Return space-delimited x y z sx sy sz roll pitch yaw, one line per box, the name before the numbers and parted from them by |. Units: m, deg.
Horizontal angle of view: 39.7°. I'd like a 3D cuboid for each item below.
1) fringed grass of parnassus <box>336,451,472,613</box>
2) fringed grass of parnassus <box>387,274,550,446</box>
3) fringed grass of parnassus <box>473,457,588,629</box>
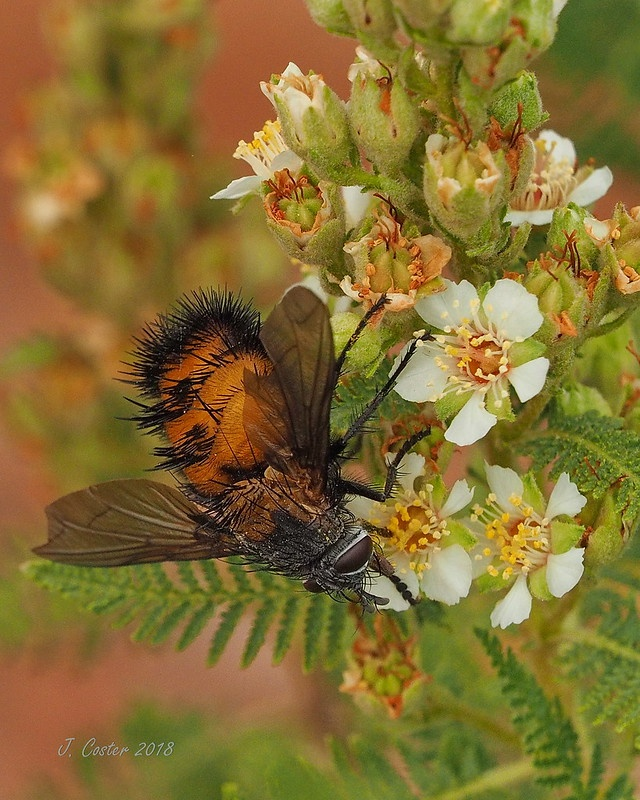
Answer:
fringed grass of parnassus | 0.197 0.363 2.200 0.133 0.406 0.463 -47 -7 12
fringed grass of parnassus | 0.333 -0.092 1.971 0.369 0.372 0.187 -23 4 8
fringed grass of parnassus | 0.518 0.329 2.101 0.177 0.310 0.416 21 -1 -19
